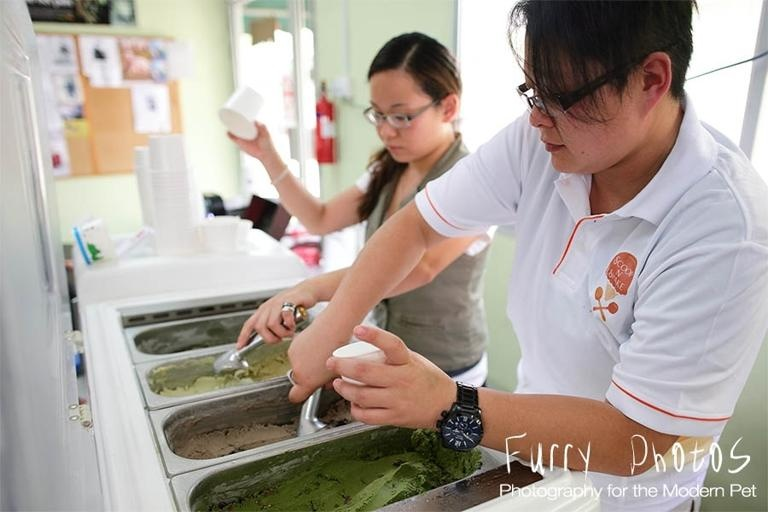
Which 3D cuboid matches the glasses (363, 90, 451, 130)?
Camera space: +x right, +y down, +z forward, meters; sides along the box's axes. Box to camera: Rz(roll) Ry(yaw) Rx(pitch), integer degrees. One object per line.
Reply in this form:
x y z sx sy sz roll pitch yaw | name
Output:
0.082 -0.510 1.906 0.168 0.049 0.160 -34 24 -17 | glasses

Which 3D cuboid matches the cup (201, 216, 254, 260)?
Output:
-0.628 -0.077 2.104 0.133 0.111 0.179 0 -1 -3 | cup

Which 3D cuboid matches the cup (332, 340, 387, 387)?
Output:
-0.061 0.251 1.352 0.114 0.081 0.112 -2 5 0 | cup

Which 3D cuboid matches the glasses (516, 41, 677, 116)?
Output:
0.444 -0.382 1.191 0.187 0.050 0.176 -33 25 9 | glasses
